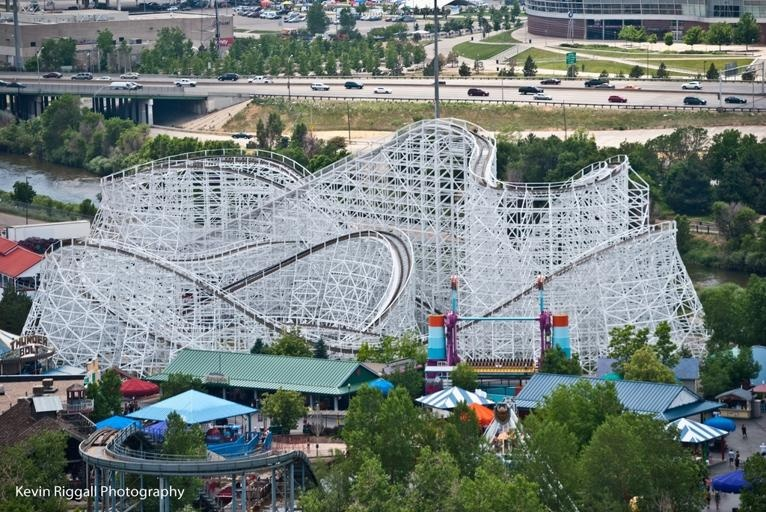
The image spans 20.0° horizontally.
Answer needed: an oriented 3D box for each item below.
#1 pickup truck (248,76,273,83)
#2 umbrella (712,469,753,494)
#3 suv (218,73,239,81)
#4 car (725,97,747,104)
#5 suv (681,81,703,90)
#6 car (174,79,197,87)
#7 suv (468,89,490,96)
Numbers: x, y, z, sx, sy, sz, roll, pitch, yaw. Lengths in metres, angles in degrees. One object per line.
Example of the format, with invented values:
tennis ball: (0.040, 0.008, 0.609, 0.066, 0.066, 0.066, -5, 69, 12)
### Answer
pickup truck: (-14.947, -21.689, 271.839, 2.196, 0.619, 1.451, 2, 6, 4)
umbrella: (26.153, 17.164, 165.513, 2.042, 0.706, 2.126, 0, 18, 24)
suv: (-19.002, -22.286, 274.690, 1.856, 0.806, 1.178, 4, 8, 4)
car: (39.865, -17.479, 248.351, 1.929, 0.628, 1.005, 1, 15, 7)
suv: (36.174, -19.743, 256.353, 1.867, 0.820, 1.173, 5, 8, 12)
car: (-23.871, -20.726, 268.332, 2.495, 1.089, 1.504, 2, 7, 4)
suv: (11.250, -18.975, 256.561, 1.895, 0.725, 1.101, 1, 11, 15)
